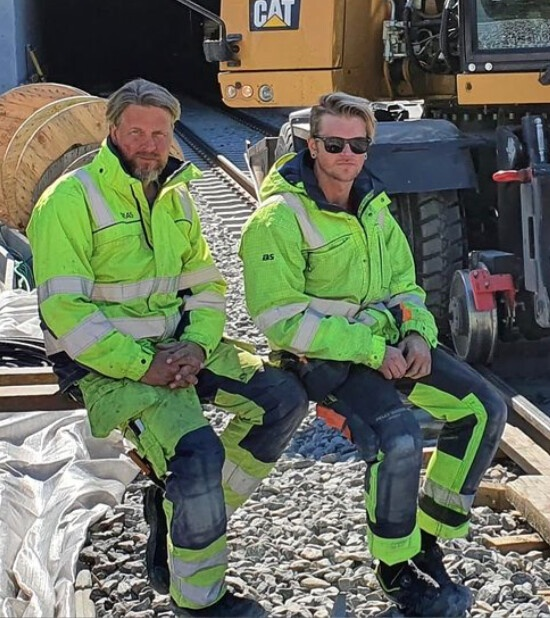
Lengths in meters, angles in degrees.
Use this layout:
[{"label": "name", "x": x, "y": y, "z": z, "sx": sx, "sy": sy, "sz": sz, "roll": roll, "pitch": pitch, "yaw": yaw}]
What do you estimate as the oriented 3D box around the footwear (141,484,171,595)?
[{"label": "footwear", "x": -0.414, "y": 0.807, "z": 2.701, "sx": 0.092, "sy": 0.285, "sz": 0.197, "roll": 2, "pitch": -14, "yaw": -12}]
